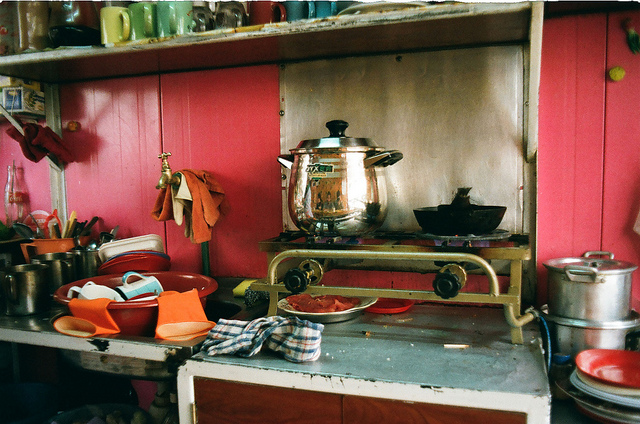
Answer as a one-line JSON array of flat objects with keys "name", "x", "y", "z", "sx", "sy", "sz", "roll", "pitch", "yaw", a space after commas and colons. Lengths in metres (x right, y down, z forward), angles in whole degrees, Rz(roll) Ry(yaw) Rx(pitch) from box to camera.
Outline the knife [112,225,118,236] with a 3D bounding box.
[{"name": "knife", "x": -1.113, "y": 0.099, "z": 3.238, "sx": 0.022, "sy": 0.049, "sz": 0.071, "roll": -4, "pitch": 8, "yaw": -6}]

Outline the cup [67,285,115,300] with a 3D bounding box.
[{"name": "cup", "x": -1.001, "y": 0.343, "z": 2.625, "sx": 0.144, "sy": 0.083, "sz": 0.088, "roll": 0, "pitch": 9, "yaw": 17}]

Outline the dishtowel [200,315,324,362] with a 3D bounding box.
[{"name": "dishtowel", "x": -0.238, "y": 0.507, "z": 2.391, "sx": 0.415, "sy": 0.078, "sz": 0.448, "roll": 1, "pitch": 11, "yaw": -14}]

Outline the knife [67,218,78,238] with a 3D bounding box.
[{"name": "knife", "x": -1.328, "y": 0.079, "z": 3.196, "sx": 0.027, "sy": 0.106, "sz": 0.016, "roll": 32, "pitch": -39, "yaw": -20}]

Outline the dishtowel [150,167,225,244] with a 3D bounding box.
[{"name": "dishtowel", "x": -0.674, "y": -0.051, "z": 2.988, "sx": 0.391, "sy": 0.362, "sz": 0.295, "roll": -2, "pitch": 12, "yaw": -17}]

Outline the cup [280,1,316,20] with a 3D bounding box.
[{"name": "cup", "x": -0.107, "y": -0.899, "z": 2.663, "sx": 0.106, "sy": 0.087, "sz": 0.098, "roll": -2, "pitch": 19, "yaw": 1}]

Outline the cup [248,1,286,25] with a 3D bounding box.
[{"name": "cup", "x": -0.251, "y": -0.888, "z": 2.683, "sx": 0.175, "sy": 0.112, "sz": 0.100, "roll": 9, "pitch": 18, "yaw": 26}]

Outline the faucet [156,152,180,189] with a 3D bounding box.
[{"name": "faucet", "x": -0.759, "y": -0.203, "z": 2.945, "sx": 0.111, "sy": 0.175, "sz": 0.173, "roll": -5, "pitch": 9, "yaw": -18}]

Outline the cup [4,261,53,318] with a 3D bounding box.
[{"name": "cup", "x": -1.356, "y": 0.361, "z": 2.752, "sx": 0.205, "sy": 0.209, "sz": 0.101, "roll": -6, "pitch": 9, "yaw": -21}]

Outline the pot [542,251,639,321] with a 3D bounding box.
[{"name": "pot", "x": 1.152, "y": 0.310, "z": 2.588, "sx": 0.361, "sy": 0.250, "sz": 0.269, "roll": 1, "pitch": 9, "yaw": 20}]

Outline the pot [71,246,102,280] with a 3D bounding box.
[{"name": "pot", "x": -1.162, "y": 0.254, "z": 3.001, "sx": 0.161, "sy": 0.150, "sz": 0.148, "roll": -2, "pitch": 0, "yaw": 0}]

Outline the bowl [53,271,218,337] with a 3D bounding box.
[{"name": "bowl", "x": -0.823, "y": 0.397, "z": 2.691, "sx": 0.523, "sy": 0.209, "sz": 0.580, "roll": 5, "pitch": 11, "yaw": 44}]

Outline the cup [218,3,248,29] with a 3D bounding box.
[{"name": "cup", "x": -0.405, "y": -0.887, "z": 2.711, "sx": 0.135, "sy": 0.103, "sz": 0.101, "roll": 1, "pitch": 16, "yaw": 14}]

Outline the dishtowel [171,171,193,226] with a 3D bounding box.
[{"name": "dishtowel", "x": -0.693, "y": -0.052, "z": 2.942, "sx": 0.088, "sy": 0.206, "sz": 0.215, "roll": -1, "pitch": 4, "yaw": -8}]

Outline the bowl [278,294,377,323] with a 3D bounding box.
[{"name": "bowl", "x": 0.028, "y": 0.429, "z": 2.675, "sx": 0.429, "sy": 0.090, "sz": 0.237, "roll": -2, "pitch": 8, "yaw": 3}]
